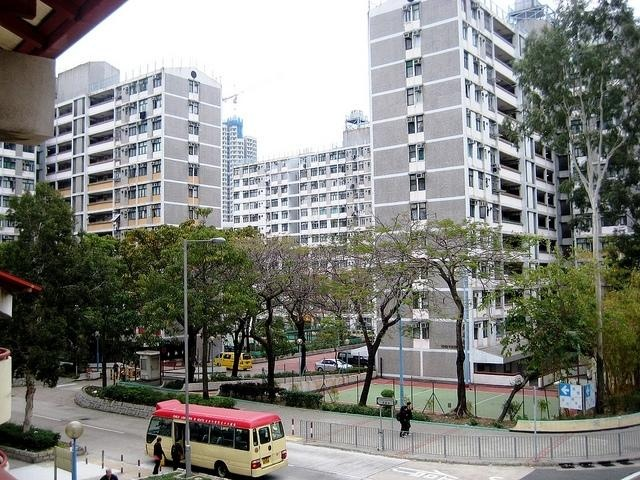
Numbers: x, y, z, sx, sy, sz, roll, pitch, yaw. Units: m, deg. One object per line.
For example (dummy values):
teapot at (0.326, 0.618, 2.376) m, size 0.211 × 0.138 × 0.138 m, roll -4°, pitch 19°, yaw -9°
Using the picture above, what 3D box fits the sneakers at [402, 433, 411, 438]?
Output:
sneakers at (5.242, 11.994, 42.200) m, size 0.559 × 0.257 × 0.275 m, roll 2°, pitch -12°, yaw -9°

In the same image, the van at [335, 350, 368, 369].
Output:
van at (3.668, 13.105, 74.857) m, size 2.695 × 1.509 × 1.731 m, roll -7°, pitch -6°, yaw 25°

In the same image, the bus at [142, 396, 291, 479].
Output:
bus at (-6.262, 11.077, 38.378) m, size 8.500 × 4.113 × 4.519 m, roll -8°, pitch -14°, yaw 32°

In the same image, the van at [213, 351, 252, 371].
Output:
van at (-9.323, 13.326, 74.154) m, size 3.227 × 1.639 × 2.086 m, roll 5°, pitch -6°, yaw 28°

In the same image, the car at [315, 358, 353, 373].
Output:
car at (1.159, 13.035, 70.548) m, size 2.873 × 1.104 × 1.571 m, roll -5°, pitch -9°, yaw 16°

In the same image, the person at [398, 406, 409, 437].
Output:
person at (5.242, 11.221, 42.726) m, size 0.704 × 1.934 × 0.970 m, roll -2°, pitch -11°, yaw 8°
